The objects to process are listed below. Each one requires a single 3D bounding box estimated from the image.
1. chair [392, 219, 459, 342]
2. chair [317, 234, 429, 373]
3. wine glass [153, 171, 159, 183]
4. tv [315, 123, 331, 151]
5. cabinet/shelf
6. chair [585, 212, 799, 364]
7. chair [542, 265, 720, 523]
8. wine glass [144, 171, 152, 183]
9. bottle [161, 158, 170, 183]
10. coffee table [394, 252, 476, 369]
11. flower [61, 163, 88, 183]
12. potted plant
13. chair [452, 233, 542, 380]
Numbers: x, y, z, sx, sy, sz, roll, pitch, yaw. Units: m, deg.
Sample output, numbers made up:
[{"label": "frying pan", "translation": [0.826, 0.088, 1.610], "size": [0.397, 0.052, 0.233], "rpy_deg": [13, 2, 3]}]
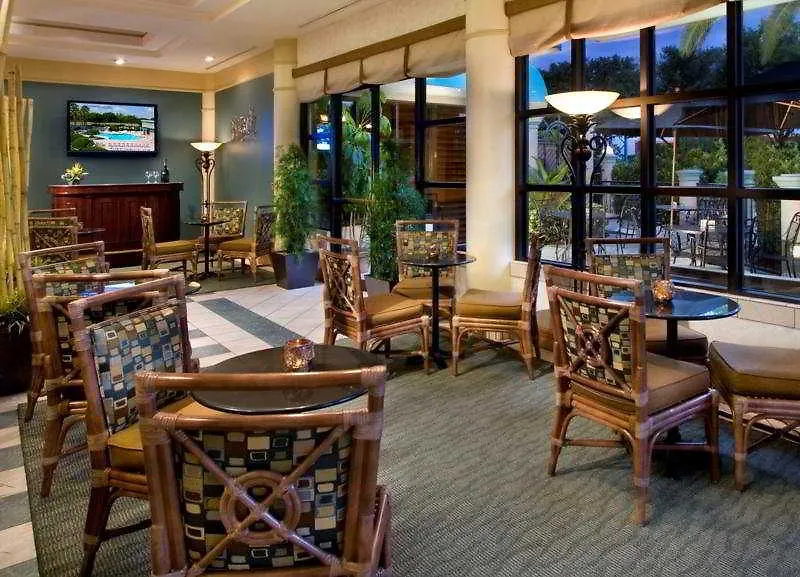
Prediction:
[{"label": "chair", "translation": [0.252, -0.099, 5.373], "size": [0.795, 1.099, 0.765], "rpy_deg": [-4, 10, -21]}, {"label": "chair", "translation": [-0.233, 0.151, 4.606], "size": [0.818, 1.073, 0.675], "rpy_deg": [-5, 11, -29]}, {"label": "wine glass", "translation": [-4.773, -2.152, 10.838], "size": [0.144, 0.179, 0.074], "rpy_deg": [-5, 14, -16]}, {"label": "tv", "translation": [-1.129, -2.202, 8.175], "size": [0.124, 0.391, 0.523], "rpy_deg": [-7, 14, -24]}, {"label": "cabinet/shelf", "translation": [-4.910, -1.114, 9.978], "size": [2.086, 1.391, 0.699], "rpy_deg": [-4, 6, -11]}, {"label": "chair", "translation": [1.697, -0.015, 3.683], "size": [1.017, 1.010, 0.905], "rpy_deg": [-4, 4, -31]}, {"label": "chair", "translation": [1.248, 0.465, 3.055], "size": [0.768, 1.136, 0.694], "rpy_deg": [-7, 10, -28]}, {"label": "wine glass", "translation": [-4.858, -2.133, 10.772], "size": [0.129, 0.191, 0.145], "rpy_deg": [0, 13, 3]}, {"label": "bottle", "translation": [-4.484, -2.212, 10.591], "size": [0.145, 0.397, 0.829], "rpy_deg": [-6, 14, -20]}, {"label": "coffee table", "translation": [0.284, 0.168, 5.081], "size": [0.894, 1.049, 0.925], "rpy_deg": [0, 7, 10]}, {"label": "flower", "translation": [-5.740, -2.014, 9.748], "size": [0.378, 0.345, 0.358], "rpy_deg": [-12, 27, -35]}, {"label": "potted plant", "translation": [-1.499, -0.969, 7.808], "size": [0.688, 1.987, 0.512], "rpy_deg": [-3, 13, -11]}, {"label": "chair", "translation": [0.824, 0.113, 4.700], "size": [0.843, 1.089, 0.819], "rpy_deg": [-2, 10, -2]}]
